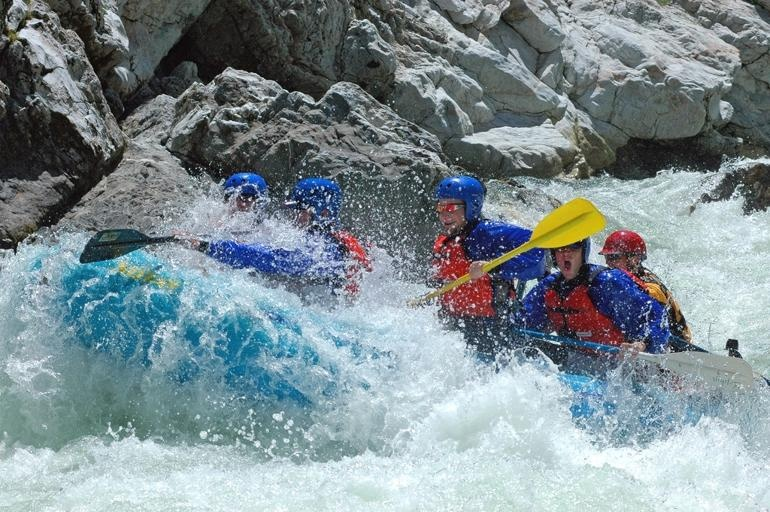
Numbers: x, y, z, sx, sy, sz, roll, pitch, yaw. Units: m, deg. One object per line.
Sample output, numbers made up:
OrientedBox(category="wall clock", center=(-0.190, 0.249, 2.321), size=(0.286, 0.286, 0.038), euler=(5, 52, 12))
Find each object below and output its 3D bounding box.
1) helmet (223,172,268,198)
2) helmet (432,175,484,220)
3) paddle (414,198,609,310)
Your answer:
OrientedBox(category="helmet", center=(-1.746, -0.862, 13.144), size=(0.319, 0.355, 0.447), euler=(50, 21, 26))
OrientedBox(category="helmet", center=(0.937, -0.716, 12.618), size=(0.430, 0.589, 0.462), euler=(4, 51, 13))
OrientedBox(category="paddle", center=(1.485, 0.011, 12.753), size=(0.449, 3.205, 0.141), euler=(46, 53, -9))
